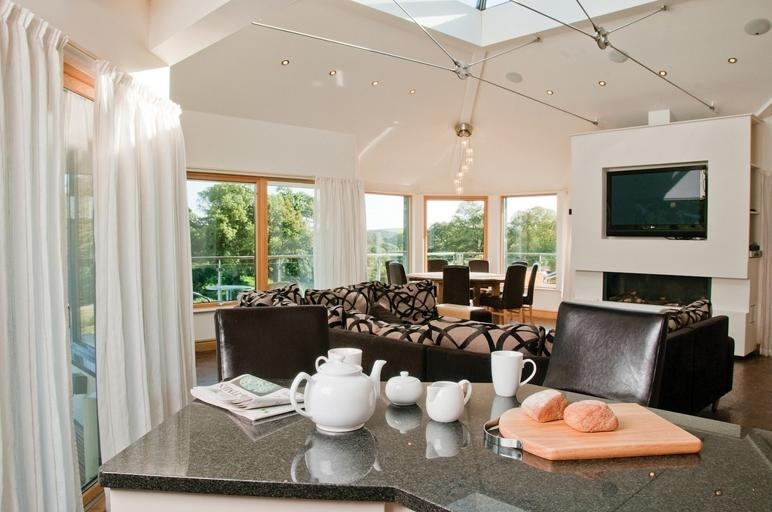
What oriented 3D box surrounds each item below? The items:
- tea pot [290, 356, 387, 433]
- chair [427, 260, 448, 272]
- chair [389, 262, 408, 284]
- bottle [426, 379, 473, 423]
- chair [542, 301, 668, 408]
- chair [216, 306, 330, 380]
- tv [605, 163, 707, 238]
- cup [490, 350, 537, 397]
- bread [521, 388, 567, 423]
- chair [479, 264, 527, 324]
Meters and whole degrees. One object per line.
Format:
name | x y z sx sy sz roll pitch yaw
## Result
tea pot | -0.157 0.465 1.739 0.346 0.229 0.221 -2 5 -23
chair | 0.891 0.160 8.779 0.229 0.294 0.249 2 5 15
chair | 0.145 0.255 7.274 0.303 0.368 0.257 1 5 -33
bottle | 0.228 0.529 1.800 0.161 0.107 0.112 8 -11 -38
chair | 0.923 0.405 2.120 0.427 0.355 0.226 7 14 33
chair | -0.582 0.407 2.710 0.458 0.556 0.404 -2 -2 41
tv | 3.456 -0.709 6.333 0.991 0.785 0.136 2 3 41
cup | 0.507 0.456 1.995 0.141 0.191 0.194 4 13 19
bread | 0.528 0.497 1.689 0.101 0.066 0.107 -2 0 -12
chair | 1.735 0.633 7.265 0.429 0.723 0.369 3 -12 -24
